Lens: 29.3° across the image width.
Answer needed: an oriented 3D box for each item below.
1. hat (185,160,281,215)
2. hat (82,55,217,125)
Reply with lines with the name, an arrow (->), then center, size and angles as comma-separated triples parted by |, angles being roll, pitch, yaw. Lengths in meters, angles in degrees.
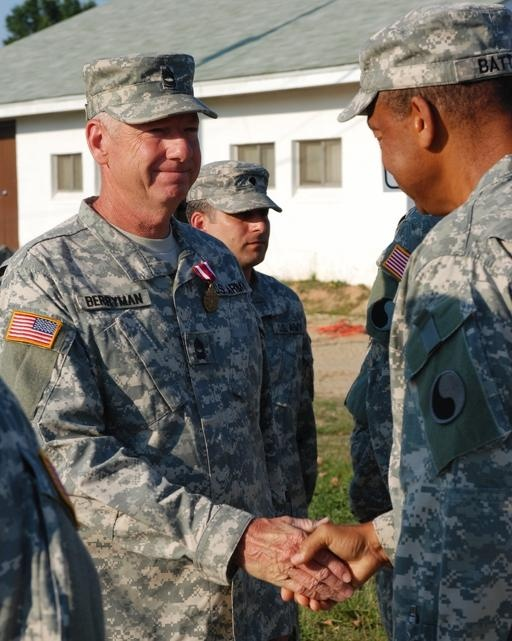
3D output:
hat -> -0.120, -0.635, 4.688 | 0.309, 0.173, 0.409 | -1, 4, -44
hat -> -0.336, -0.717, 3.050 | 0.366, 0.153, 0.278 | 3, 6, 39
